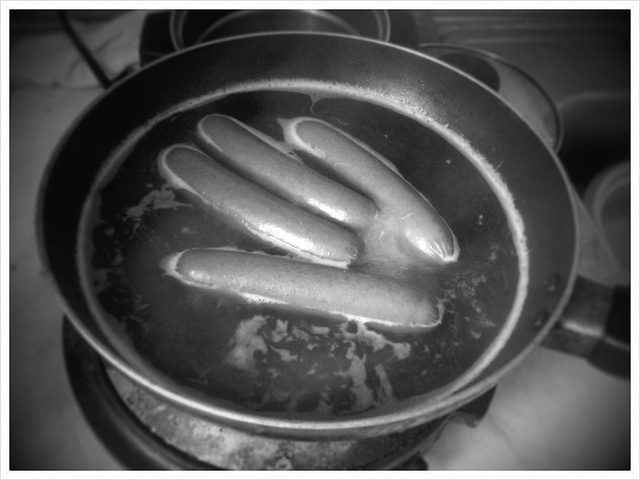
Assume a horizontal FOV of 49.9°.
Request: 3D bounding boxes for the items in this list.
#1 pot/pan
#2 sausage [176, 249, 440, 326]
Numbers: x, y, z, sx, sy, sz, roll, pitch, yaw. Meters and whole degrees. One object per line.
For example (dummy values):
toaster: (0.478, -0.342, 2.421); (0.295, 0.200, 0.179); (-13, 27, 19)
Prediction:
pot/pan: (-0.017, -0.040, 1.164); (0.865, 0.271, 0.704); (16, 83, 1)
sausage: (-0.039, 0.082, 1.139); (0.298, 0.062, 0.069); (10, 83, 4)
